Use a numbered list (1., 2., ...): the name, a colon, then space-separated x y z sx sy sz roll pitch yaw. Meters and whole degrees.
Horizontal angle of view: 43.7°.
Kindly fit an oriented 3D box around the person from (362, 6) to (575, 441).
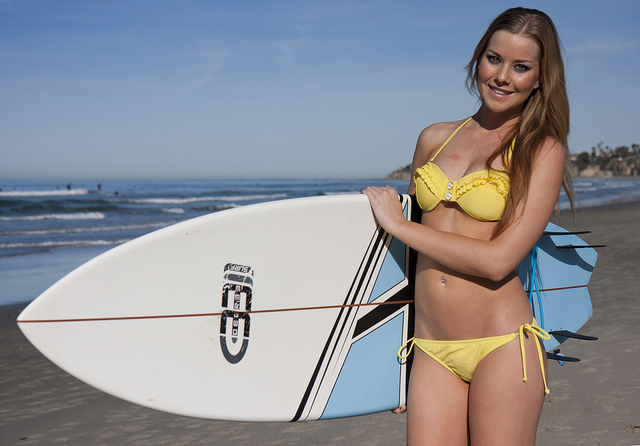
1. person: 1.054 0.020 5.283 1.167 2.755 0.923 3 15 17

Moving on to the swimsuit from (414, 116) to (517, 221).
1. swimsuit: 0.934 -0.380 4.935 0.655 0.369 0.959 1 -26 -5

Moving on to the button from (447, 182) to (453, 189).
1. button: 0.871 -0.244 5.348 0.041 0.041 0.010 0 -9 22

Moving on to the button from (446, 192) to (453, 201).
1. button: 0.861 -0.172 5.339 0.012 0.046 0.046 17 14 34
